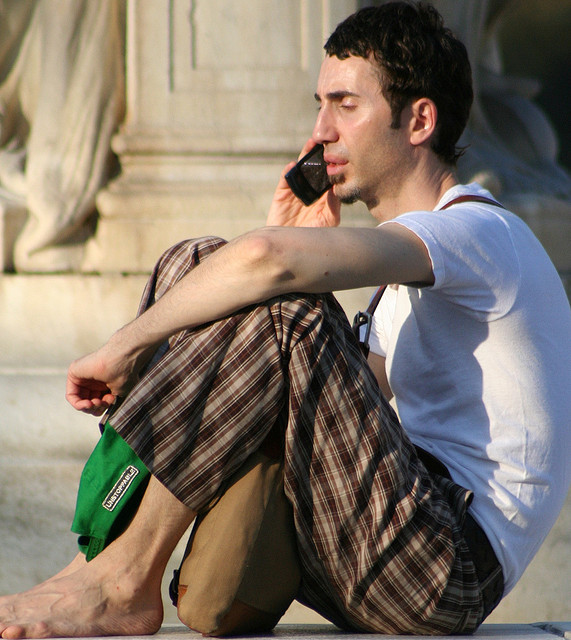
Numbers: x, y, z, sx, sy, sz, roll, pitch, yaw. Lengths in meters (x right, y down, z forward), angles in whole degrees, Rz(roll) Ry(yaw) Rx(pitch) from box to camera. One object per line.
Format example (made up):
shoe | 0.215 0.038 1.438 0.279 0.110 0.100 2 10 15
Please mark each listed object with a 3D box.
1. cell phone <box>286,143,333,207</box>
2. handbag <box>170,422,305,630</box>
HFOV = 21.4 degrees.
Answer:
cell phone | 0.090 -0.428 4.505 0.125 0.021 0.221 0 57 0
handbag | -0.117 0.612 3.825 0.301 0.426 0.551 8 55 1
